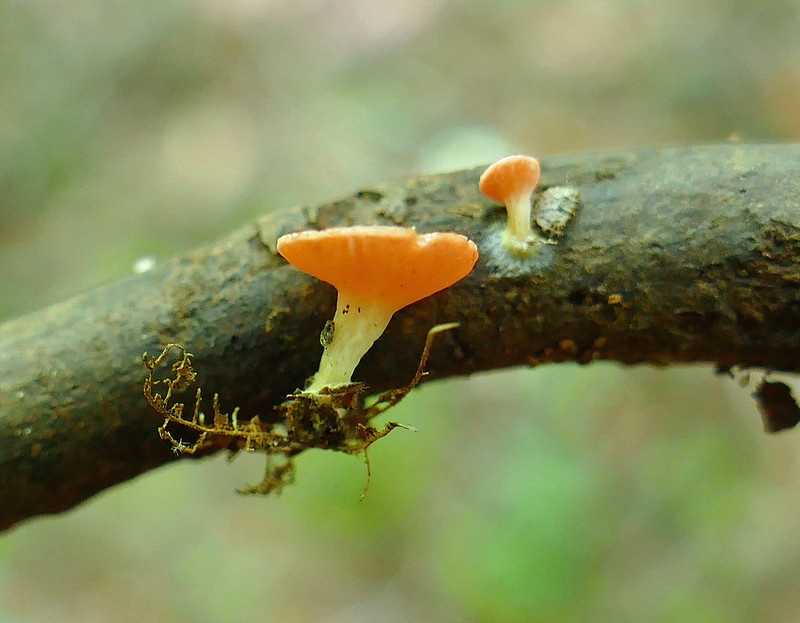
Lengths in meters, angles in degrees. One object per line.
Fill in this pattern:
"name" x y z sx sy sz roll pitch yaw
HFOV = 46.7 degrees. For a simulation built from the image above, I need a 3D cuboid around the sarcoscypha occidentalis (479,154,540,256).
"sarcoscypha occidentalis" 0.398 -0.351 3.102 0.200 0.253 0.222 -17 43 7
